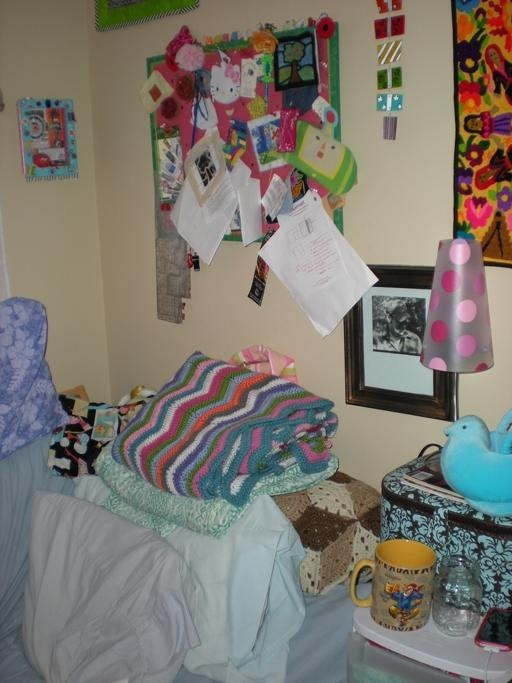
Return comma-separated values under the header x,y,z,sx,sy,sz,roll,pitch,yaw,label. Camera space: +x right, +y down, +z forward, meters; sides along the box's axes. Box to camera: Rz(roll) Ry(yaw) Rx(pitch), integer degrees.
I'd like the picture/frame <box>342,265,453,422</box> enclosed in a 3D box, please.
x,y,z,sx,sy,sz,roll,pitch,yaw,label
0.327,-0.005,1.211,0.028,0.403,0.347,-8,10,-42,picture/frame

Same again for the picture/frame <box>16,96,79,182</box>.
x,y,z,sx,sy,sz,roll,pitch,yaw,label
-0.723,-0.684,1.851,0.059,0.256,0.250,8,15,40,picture/frame

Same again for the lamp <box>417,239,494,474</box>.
x,y,z,sx,sy,sz,roll,pitch,yaw,label
0.367,-0.064,0.975,0.126,0.238,0.077,2,7,24,lamp

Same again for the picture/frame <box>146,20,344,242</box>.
x,y,z,sx,sy,sz,roll,pitch,yaw,label
-0.018,-0.583,1.453,0.030,0.573,0.666,-17,21,-41,picture/frame

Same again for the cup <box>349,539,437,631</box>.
x,y,z,sx,sy,sz,roll,pitch,yaw,label
0.193,0.354,0.795,0.125,0.098,0.086,-4,8,1,cup

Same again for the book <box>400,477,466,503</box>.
x,y,z,sx,sy,sz,roll,pitch,yaw,label
0.288,0.243,0.864,0.064,0.014,0.063,12,3,0,book
